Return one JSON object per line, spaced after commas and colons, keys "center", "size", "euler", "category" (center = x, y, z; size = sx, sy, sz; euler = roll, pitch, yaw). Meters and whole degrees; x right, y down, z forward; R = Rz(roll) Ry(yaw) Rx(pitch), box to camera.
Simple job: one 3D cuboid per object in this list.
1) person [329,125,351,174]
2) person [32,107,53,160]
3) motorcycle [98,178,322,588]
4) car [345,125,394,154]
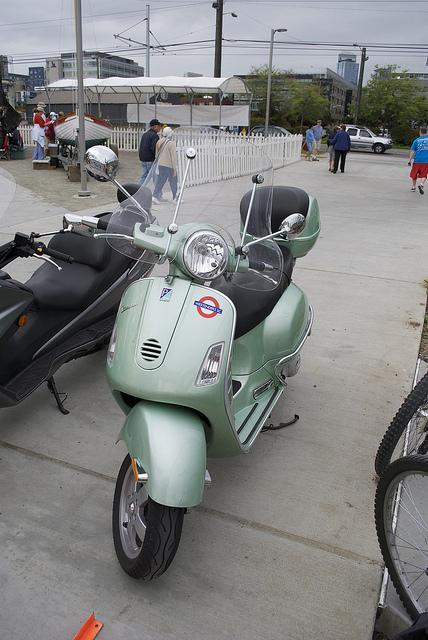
{"center": [4.747, -6.771, 17.251], "size": [0.586, 1.030, 1.507], "euler": [-11, 24, 15], "category": "person"}
{"center": [-6.249, -6.740, 16.511], "size": [0.619, 1.761, 1.035], "euler": [-4, 21, -19], "category": "person"}
{"center": [0.044, 0.141, 2.313], "size": [0.633, 1.611, 1.880], "euler": [11, 22, 22], "category": "motorcycle"}
{"center": [10.206, -12.052, 30.616], "size": [1.701, 1.633, 2.886], "euler": [-8, 23, -27], "category": "car"}
